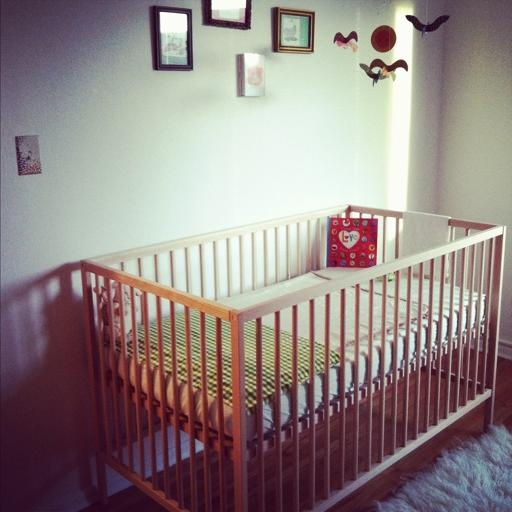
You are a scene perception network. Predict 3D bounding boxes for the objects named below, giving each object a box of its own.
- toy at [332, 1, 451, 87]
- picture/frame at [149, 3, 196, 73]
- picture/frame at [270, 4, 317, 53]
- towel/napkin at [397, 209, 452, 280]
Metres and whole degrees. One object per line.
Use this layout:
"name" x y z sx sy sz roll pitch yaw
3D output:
"toy" 0.629 -1.028 2.586 0.483 0.314 0.634 0 13 8
"picture/frame" -0.317 -0.806 1.895 0.017 0.278 0.201 14 21 41
"picture/frame" 0.156 -1.019 2.303 0.196 0.177 0.022 -11 15 -43
"towel/napkin" 0.846 0.002 2.535 0.095 0.427 0.312 0 7 -39
